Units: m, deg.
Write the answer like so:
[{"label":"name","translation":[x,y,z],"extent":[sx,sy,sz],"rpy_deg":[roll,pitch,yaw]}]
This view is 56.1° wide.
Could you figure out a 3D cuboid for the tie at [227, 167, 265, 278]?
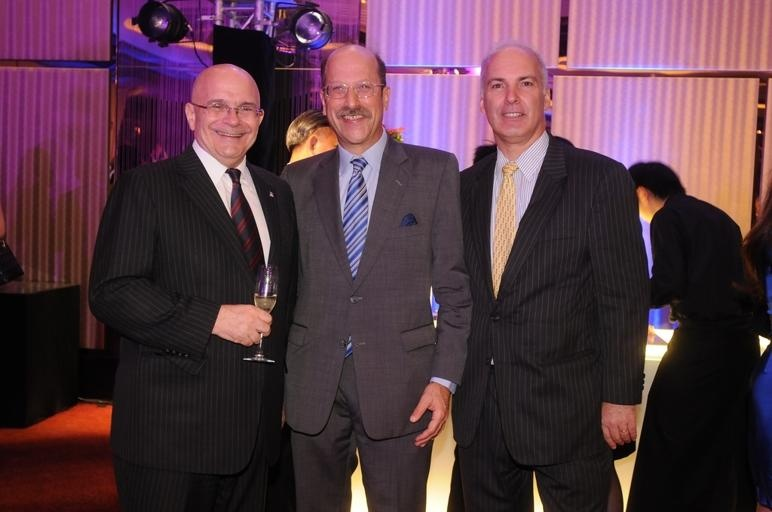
[{"label":"tie","translation":[-0.827,-0.233,4.109],"extent":[0.126,0.722,0.076],"rpy_deg":[-16,-12,-16]}]
